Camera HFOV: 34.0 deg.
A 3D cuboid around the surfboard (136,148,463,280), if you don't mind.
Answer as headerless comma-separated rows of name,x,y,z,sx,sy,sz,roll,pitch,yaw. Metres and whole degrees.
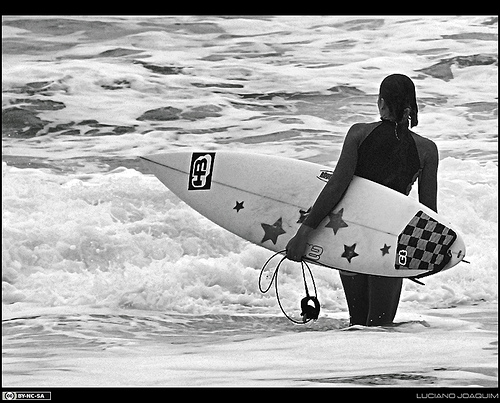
surfboard,0.406,0.043,8.975,4.338,0.896,0.356,18,-6,24
